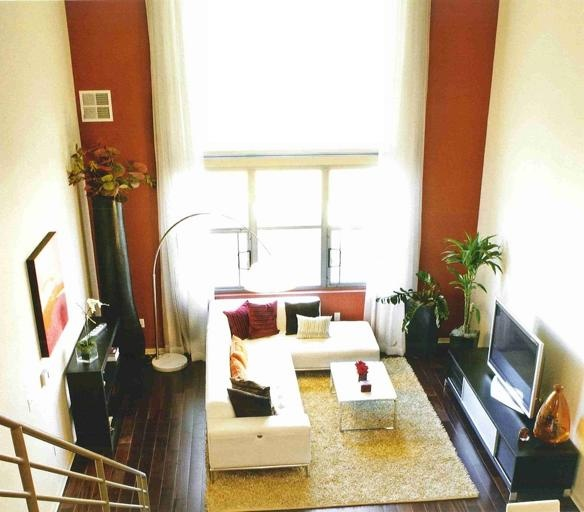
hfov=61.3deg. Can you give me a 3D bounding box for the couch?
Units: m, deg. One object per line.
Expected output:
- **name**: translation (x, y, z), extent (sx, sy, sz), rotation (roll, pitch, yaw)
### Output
- **couch**: translation (-0.172, 1.747, 5.613), extent (1.435, 0.674, 2.214), rotation (-3, 26, -7)

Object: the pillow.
- **pillow**: translation (-0.305, 1.489, 6.349), extent (0.926, 0.621, 1.592), rotation (-5, 39, -7)

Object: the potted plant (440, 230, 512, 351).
- **potted plant**: translation (2.390, 0.502, 6.690), extent (0.712, 1.580, 0.734), rotation (12, -6, -3)

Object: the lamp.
- **lamp**: translation (-1.159, 0.528, 6.811), extent (1.623, 2.393, 0.578), rotation (-3, 32, -16)

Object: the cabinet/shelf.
- **cabinet/shelf**: translation (-2.156, 1.483, 5.378), extent (0.284, 0.788, 1.321), rotation (-3, 32, -5)

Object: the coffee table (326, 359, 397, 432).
- **coffee table**: translation (0.869, 1.607, 6.059), extent (0.636, 0.485, 0.922), rotation (-1, 26, -2)

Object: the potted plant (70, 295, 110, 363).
- **potted plant**: translation (-2.283, 0.826, 5.500), extent (0.293, 0.636, 0.583), rotation (-5, 16, -19)
